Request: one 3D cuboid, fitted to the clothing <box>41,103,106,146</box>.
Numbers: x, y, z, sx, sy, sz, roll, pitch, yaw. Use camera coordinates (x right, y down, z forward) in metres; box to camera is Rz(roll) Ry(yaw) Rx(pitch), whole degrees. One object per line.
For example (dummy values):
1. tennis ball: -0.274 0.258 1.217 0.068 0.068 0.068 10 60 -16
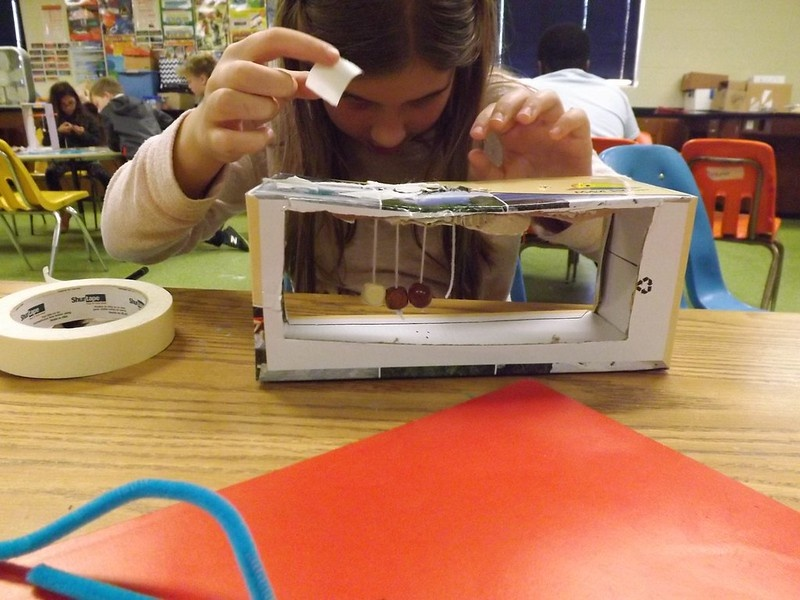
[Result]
1. clothing: -2.386 -1.328 4.863 0.395 0.319 0.226 8 22 6
